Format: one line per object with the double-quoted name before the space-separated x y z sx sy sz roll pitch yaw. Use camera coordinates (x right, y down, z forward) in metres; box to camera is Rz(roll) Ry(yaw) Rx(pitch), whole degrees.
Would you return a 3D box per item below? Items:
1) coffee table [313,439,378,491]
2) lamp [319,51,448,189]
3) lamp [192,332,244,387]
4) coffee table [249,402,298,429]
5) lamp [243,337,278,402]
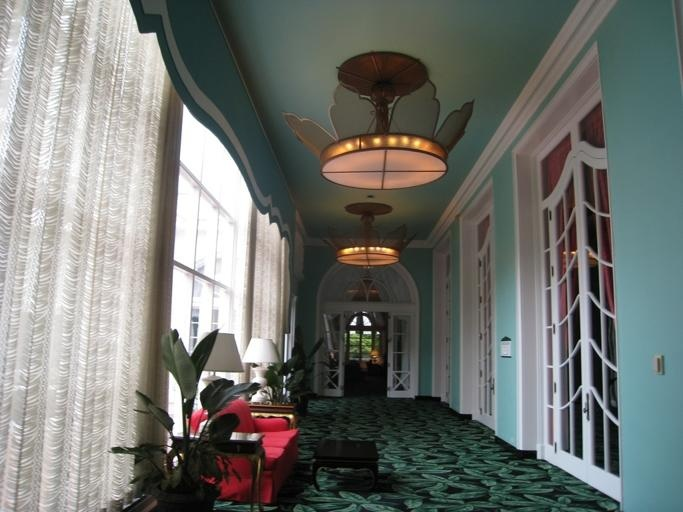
"coffee table" 0.045 2.101 4.922 0.607 0.360 0.707 0 -13 3
"lamp" 0.450 -1.374 5.060 1.166 0.979 1.188 2 -5 -15
"lamp" -1.010 0.889 4.229 0.479 0.494 0.473 9 -14 -37
"coffee table" -0.791 1.882 5.920 0.432 0.425 0.332 -3 -18 14
"lamp" -0.963 1.341 5.762 0.373 0.661 0.388 12 -14 20
